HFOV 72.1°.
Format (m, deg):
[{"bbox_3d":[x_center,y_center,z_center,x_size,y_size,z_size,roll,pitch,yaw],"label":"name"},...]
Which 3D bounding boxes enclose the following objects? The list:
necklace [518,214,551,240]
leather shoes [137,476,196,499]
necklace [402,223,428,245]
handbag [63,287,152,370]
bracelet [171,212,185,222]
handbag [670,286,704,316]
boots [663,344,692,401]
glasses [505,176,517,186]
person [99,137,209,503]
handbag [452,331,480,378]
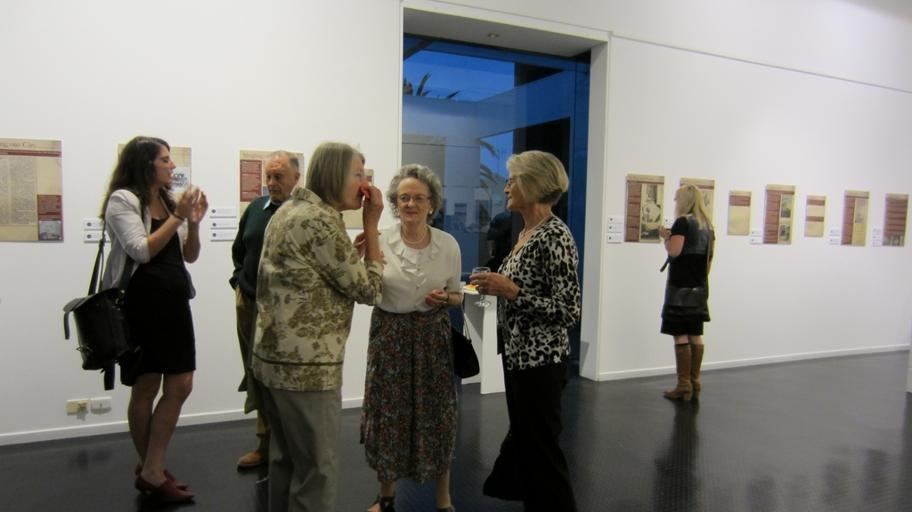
[{"bbox_3d":[0.754,-0.285,6.021,0.303,0.302,0.191,-1,7,20],"label":"necklace"},{"bbox_3d":[-2.955,2.345,6.319,0.546,0.220,0.254,5,2,-14],"label":"leather shoes"},{"bbox_3d":[-0.414,-0.198,6.053,0.182,0.214,0.236,-2,-11,0],"label":"necklace"},{"bbox_3d":[-3.506,0.755,6.159,0.794,0.808,0.576,-30,-23,33],"label":"handbag"},{"bbox_3d":[-2.722,-0.386,6.086,0.087,0.021,0.088,27,-19,27],"label":"bracelet"},{"bbox_3d":[3.100,0.591,8.325,0.476,0.379,0.098,-2,5,-8],"label":"handbag"},{"bbox_3d":[2.962,1.526,8.339,0.360,0.736,0.247,-1,5,5],"label":"boots"},{"bbox_3d":[0.525,-0.712,5.959,0.116,0.118,0.089,0,7,5],"label":"glasses"},{"bbox_3d":[-2.988,0.641,6.217,0.922,3.628,0.502,-3,5,-22],"label":"person"},{"bbox_3d":[0.057,0.929,5.957,0.150,0.419,0.306,-17,10,0],"label":"handbag"}]
